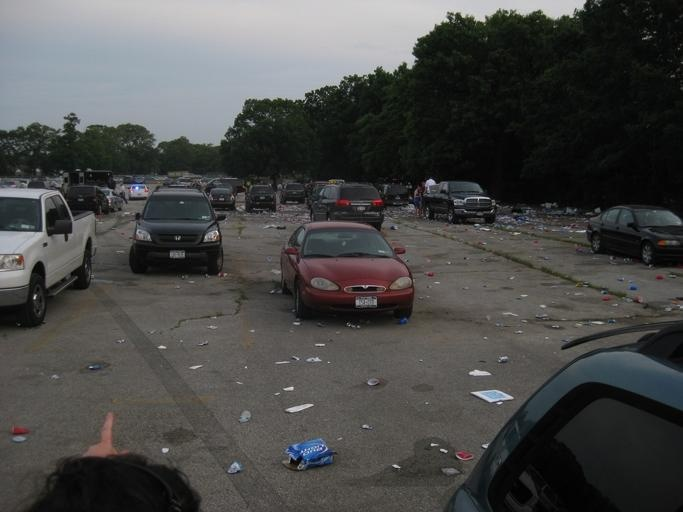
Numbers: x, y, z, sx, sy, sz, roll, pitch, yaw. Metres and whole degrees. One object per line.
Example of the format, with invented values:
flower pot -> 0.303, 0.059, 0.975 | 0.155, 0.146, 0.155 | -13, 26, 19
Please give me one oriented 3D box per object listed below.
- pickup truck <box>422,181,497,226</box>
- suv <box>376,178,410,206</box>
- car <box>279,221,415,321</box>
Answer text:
pickup truck -> 7.405, -3.470, 32.980 | 1.990, 1.621, 4.427 | -1, 4, -14
suv -> 4.916, -5.917, 49.728 | 2.100, 1.975, 4.403 | 0, 2, -6
car -> 0.089, 0.304, 10.982 | 2.309, 1.615, 2.565 | -3, 11, -14
